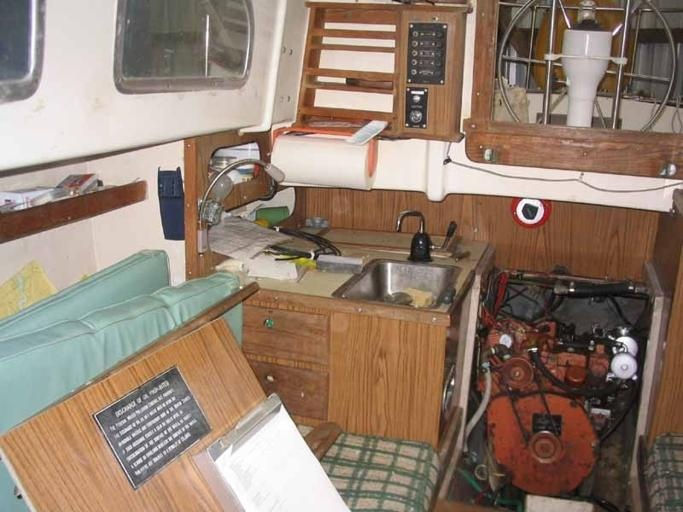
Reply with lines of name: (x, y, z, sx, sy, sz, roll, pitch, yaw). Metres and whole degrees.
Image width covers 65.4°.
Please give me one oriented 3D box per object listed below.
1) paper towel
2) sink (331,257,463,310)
paper towel: (-0.087, -0.413, 2.317, 0.436, 0.213, 0.176, 2, 13, -5)
sink: (0.226, 0.142, 2.339, 0.272, 0.136, 0.342, 7, 23, 16)
